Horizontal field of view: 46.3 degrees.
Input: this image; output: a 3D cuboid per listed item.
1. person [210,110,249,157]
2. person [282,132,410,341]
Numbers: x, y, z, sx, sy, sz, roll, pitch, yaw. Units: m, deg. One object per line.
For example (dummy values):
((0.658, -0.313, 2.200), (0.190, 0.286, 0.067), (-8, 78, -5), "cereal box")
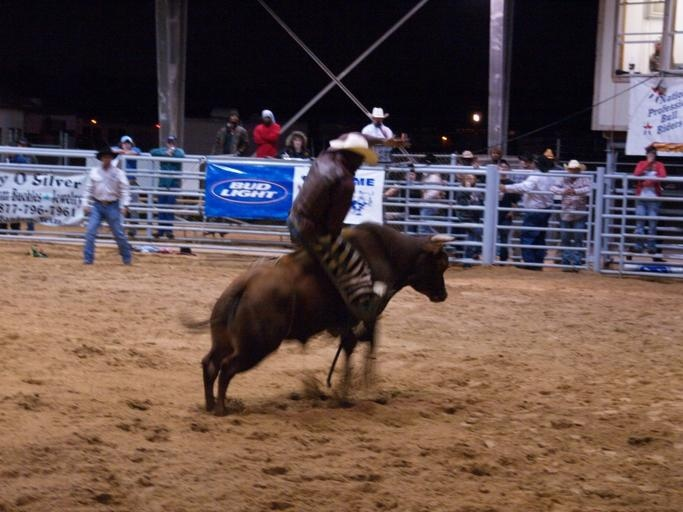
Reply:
((-2.262, -2.526, 16.449), (0.669, 0.936, 0.833), (0, 5, -21), "person")
((-0.047, -0.259, 7.704), (0.934, 1.875, 0.471), (2, 6, 2), "person")
